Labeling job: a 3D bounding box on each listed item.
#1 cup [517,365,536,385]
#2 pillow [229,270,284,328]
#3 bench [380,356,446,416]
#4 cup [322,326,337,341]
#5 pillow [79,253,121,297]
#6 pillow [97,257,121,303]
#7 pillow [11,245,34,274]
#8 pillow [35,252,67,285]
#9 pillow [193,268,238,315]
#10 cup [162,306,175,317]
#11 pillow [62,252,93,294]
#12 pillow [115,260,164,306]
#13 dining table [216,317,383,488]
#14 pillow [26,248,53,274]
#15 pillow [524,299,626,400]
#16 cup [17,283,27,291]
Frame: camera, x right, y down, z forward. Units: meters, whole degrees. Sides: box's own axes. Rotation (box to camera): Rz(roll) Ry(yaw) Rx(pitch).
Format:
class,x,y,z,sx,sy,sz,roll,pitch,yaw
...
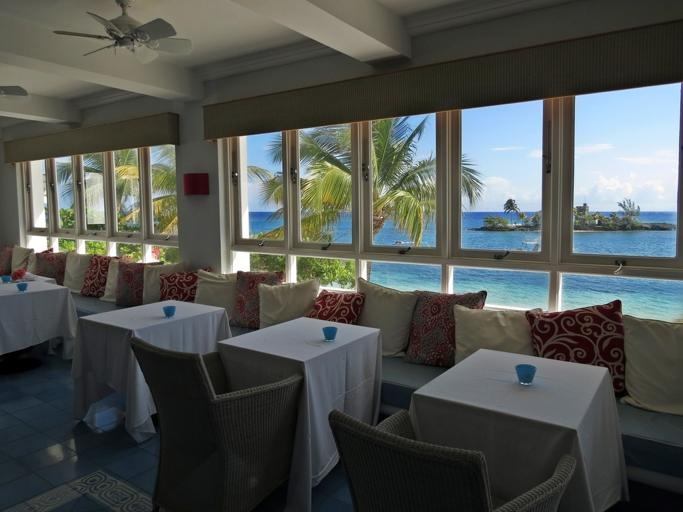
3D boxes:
class,x,y,z,sx,sy,sz,roll,pitch,yaw
cup,0.920,0.587,2.282,0.088,0.068,0.092,-1,-1,0
pillow,-0.790,0.415,4.268,0.415,0.446,0.167,-8,-23,36
bench,0.471,0.811,3.254,0.424,0.110,0.402,4,11,29
cup,-0.074,0.485,2.880,0.080,0.062,0.084,-1,-7,0
pillow,-3.044,0.252,5.676,0.525,0.530,0.161,6,-6,38
pillow,-2.755,0.300,5.462,0.126,0.453,0.368,12,-7,-35
pillow,-4.629,0.060,6.608,0.117,0.357,0.293,13,-25,-41
pillow,-3.829,0.173,6.031,0.358,0.376,0.136,-4,-12,13
pillow,-1.225,0.354,4.408,0.363,0.379,0.137,-1,-16,10
cup,-1.291,0.408,3.406,0.072,0.070,0.081,1,-7,-1
pillow,-3.392,0.229,5.875,0.366,0.376,0.145,25,4,31
pillow,-2.229,0.310,5.034,0.404,0.410,0.153,-5,-12,26
dining table,-0.243,0.682,3.010,0.759,0.848,1.193,-1,1,28
pillow,-4.272,0.077,6.444,0.274,0.347,0.127,9,13,10
pillow,1.413,0.571,2.748,0.479,0.541,0.189,-6,-16,15
cup,-3.039,0.291,4.353,0.077,0.067,0.080,0,-5,0
